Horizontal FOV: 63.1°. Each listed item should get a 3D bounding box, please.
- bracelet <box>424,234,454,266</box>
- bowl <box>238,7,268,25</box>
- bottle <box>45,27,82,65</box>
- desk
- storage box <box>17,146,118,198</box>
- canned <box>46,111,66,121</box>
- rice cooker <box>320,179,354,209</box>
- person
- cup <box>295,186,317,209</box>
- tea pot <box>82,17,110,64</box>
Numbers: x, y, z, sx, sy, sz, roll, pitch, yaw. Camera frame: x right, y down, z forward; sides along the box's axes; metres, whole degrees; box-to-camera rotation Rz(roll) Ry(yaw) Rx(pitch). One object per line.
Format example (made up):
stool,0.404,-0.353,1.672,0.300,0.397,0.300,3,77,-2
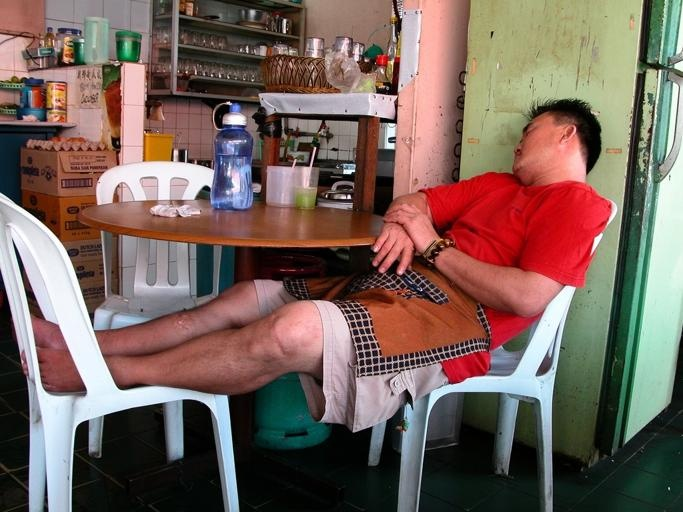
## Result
bracelet,0.308,-0.018,1.847,0.034,0.093,0.078,43,32,-8
bowl,-0.930,-2.490,5.876,0.230,0.085,0.220,1,11,0
bottle,-2.000,-1.485,3.970,0.191,0.243,0.589,-9,20,-36
desk,-0.032,-0.422,2.552,0.616,0.603,0.516,7,5,44
storage box,-1.784,-0.463,3.554,0.415,0.285,0.585,-8,15,-41
canned,-1.964,-0.961,3.823,0.094,0.061,0.093,-12,23,-42
rice cooker,-0.007,-0.324,3.067,0.199,0.221,0.256,1,5,-11
person,0.048,-0.073,1.988,1.922,1.138,0.933,6,10,-25
cup,-0.139,-0.228,2.160,0.083,0.082,0.079,2,12,0
tea pot,-1.660,-1.440,3.733,0.160,0.299,0.170,2,16,-1
